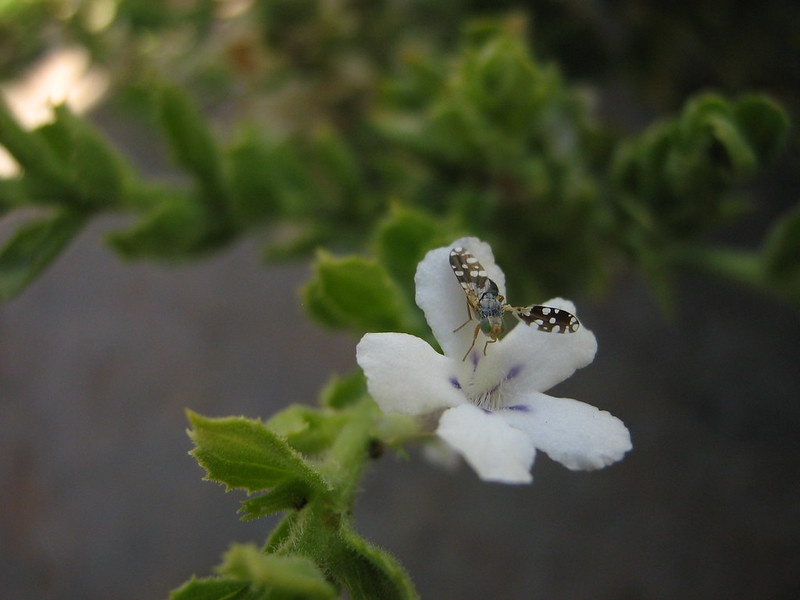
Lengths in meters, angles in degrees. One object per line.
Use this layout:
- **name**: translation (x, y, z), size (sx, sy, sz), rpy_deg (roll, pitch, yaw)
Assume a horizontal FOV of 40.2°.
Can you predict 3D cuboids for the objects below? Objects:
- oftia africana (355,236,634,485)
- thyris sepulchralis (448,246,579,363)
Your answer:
- **oftia africana**: translation (0.098, 0.095, 1.119), size (0.287, 0.146, 0.313), rpy_deg (12, 38, -32)
- **thyris sepulchralis**: translation (0.117, -0.026, 1.182), size (0.145, 0.076, 0.107), rpy_deg (36, 51, -15)
